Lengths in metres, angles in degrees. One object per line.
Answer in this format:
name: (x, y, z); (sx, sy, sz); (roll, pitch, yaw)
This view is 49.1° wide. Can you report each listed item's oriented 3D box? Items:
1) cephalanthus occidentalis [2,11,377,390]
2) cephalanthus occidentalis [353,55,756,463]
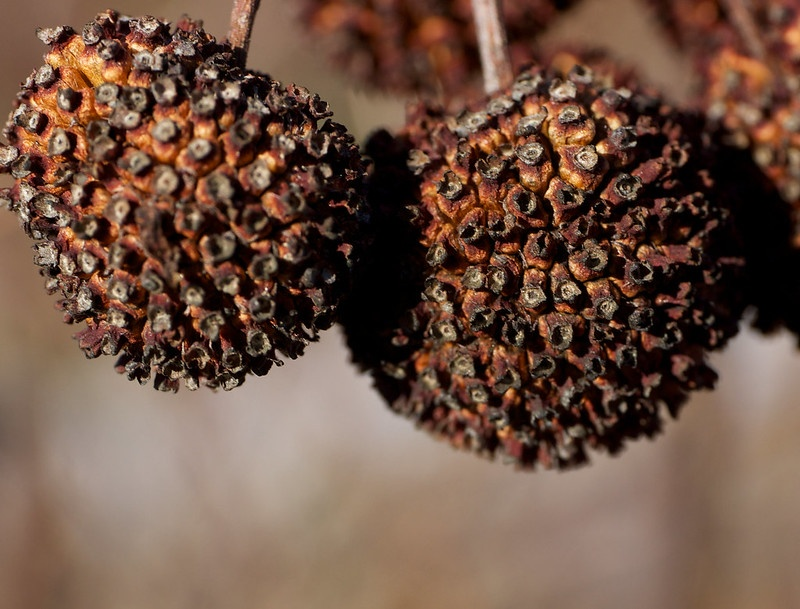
cephalanthus occidentalis: (-0.562, -0.296, 2.332); (0.944, 1.004, 0.378); (-5, -14, -1)
cephalanthus occidentalis: (0.425, -0.173, 2.593); (1.192, 1.207, 0.598); (-4, -14, -4)
